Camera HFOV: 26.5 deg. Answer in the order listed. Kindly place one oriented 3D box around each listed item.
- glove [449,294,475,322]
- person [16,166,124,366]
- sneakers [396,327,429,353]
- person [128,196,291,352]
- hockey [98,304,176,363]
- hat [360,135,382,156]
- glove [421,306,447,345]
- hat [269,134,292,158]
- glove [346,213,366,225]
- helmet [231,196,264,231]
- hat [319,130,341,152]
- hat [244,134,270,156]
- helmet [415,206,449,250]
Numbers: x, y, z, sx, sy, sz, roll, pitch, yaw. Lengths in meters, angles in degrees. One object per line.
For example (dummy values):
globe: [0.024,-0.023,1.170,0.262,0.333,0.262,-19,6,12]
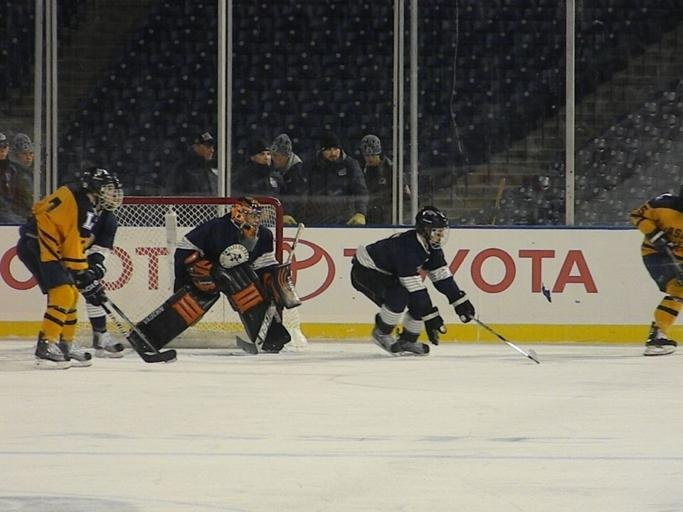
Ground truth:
glove: [1.018,0.429,12.033,0.175,0.230,0.115,-37,-7,12]
person: [-2.104,0.074,11.434,0.716,1.512,0.474,-1,6,-39]
sneakers: [0.543,0.727,12.053,0.362,0.143,0.128,3,-8,6]
person: [-1.025,0.125,11.995,1.407,1.296,0.722,4,13,-28]
hockey: [-1.639,0.619,11.581,0.604,0.181,0.391,44,13,0]
hat: [0.262,-0.980,12.981,0.162,0.168,0.199,4,12,40]
glove: [0.801,0.562,11.838,0.125,0.294,0.193,-18,5,-22]
hat: [-0.532,-0.983,13.053,0.163,0.200,0.072,19,-8,-1]
glove: [0.120,-0.342,12.953,0.116,0.108,0.105,4,27,8]
helmet: [-0.765,-0.343,11.902,0.251,0.270,0.289,8,4,-37]
hat: [-0.108,-1.022,12.987,0.153,0.162,0.169,3,-13,-31]
hat: [-0.731,-0.983,12.985,0.214,0.156,0.151,-21,18,-36]
helmet: [0.738,-0.225,11.948,0.263,0.342,0.231,3,5,1]
